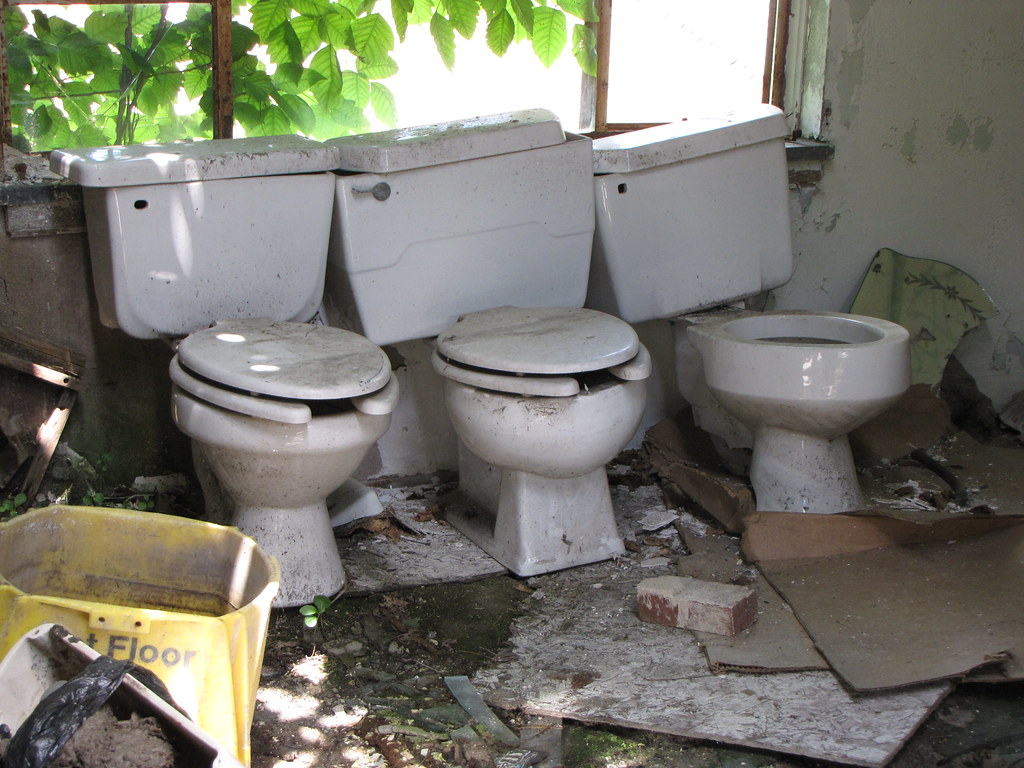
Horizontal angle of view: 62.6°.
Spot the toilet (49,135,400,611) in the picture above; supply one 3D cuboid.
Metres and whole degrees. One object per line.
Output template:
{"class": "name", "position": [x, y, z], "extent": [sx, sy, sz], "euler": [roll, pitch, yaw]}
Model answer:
{"class": "toilet", "position": [-0.664, -0.039, 2.036], "extent": [0.693, 0.932, 0.921], "euler": [-8, 25, -35]}

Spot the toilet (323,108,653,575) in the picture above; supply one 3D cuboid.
{"class": "toilet", "position": [-0.008, -0.141, 2.250], "extent": [0.772, 1.039, 0.967], "euler": [-14, 23, -28]}

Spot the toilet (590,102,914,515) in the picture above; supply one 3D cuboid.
{"class": "toilet", "position": [0.702, -0.211, 2.428], "extent": [0.720, 1.047, 0.900], "euler": [-18, 18, -24]}
